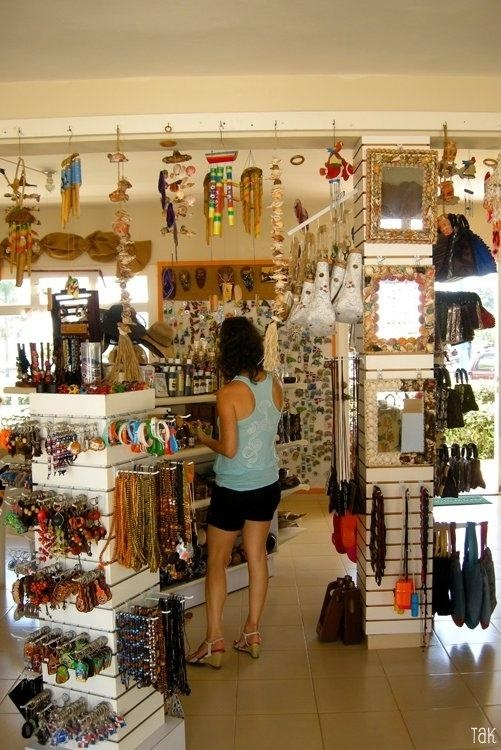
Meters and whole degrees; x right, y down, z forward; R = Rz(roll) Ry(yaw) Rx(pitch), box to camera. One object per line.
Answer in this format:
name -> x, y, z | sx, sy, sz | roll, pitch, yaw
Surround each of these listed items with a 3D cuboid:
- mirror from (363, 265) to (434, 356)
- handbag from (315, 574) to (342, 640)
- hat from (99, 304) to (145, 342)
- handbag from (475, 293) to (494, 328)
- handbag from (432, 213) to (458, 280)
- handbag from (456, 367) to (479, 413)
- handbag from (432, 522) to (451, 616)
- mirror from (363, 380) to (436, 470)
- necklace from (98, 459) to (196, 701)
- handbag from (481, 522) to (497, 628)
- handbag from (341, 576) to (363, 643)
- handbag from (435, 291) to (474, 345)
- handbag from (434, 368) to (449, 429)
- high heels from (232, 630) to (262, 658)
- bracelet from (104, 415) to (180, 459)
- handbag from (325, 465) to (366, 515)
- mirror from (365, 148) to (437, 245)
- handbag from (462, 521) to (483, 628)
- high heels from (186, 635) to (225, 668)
mirror -> 0.771, -0.340, 3.160 | 0.388, 0.413, 0.029 | -2, 0, -8
handbag -> 0.432, 1.285, 3.374 | 0.114, 0.347, 0.244 | 6, -6, 3
hat -> -0.668, -0.278, 3.162 | 0.211, 0.206, 0.468 | -2, 1, -13
handbag -> 1.475, -0.399, 3.817 | 0.127, 0.185, 0.053 | 10, -30, -34
handbag -> 1.049, -0.708, 3.288 | 0.109, 0.338, 0.318 | -1, 1, 19
handbag -> 1.540, 0.115, 4.319 | 0.082, 0.366, 0.355 | -6, 13, 5
handbag -> 1.038, 1.039, 3.294 | 0.127, 0.454, 0.054 | -1, 0, -20
mirror -> 0.767, 0.249, 3.159 | 0.421, 0.536, 0.042 | 0, 0, 6
necklace -> -0.337, 0.762, 2.171 | 0.252, 0.850, 0.358 | -1, 0, 20
handbag -> 1.312, 1.083, 3.350 | 0.074, 0.523, 0.292 | -1, 0, 23
handbag -> 0.534, 1.233, 3.192 | 0.103, 0.291, 0.293 | 0, -5, 1
handbag -> 1.256, -0.356, 3.770 | 0.322, 0.344, 0.087 | -1, 4, -38
handbag -> 1.171, 0.143, 3.688 | 0.087, 0.355, 0.343 | -1, 1, 18
high heels -> -0.020, 1.354, 3.106 | 0.072, 0.077, 0.174 | 1, 1, -12
bracelet -> -0.373, 0.199, 2.097 | 0.186, 0.105, 0.140 | -2, 5, -18
handbag -> 0.515, 0.624, 3.288 | 0.191, 0.238, 0.182 | -1, 1, 6
mirror -> 0.764, -0.933, 3.114 | 0.441, 0.613, 0.044 | 1, 7, -3
handbag -> 1.199, 1.071, 3.272 | 0.109, 0.523, 0.117 | -1, 0, -4
high heels -> -0.255, 1.352, 3.056 | 0.249, 0.115, 0.088 | 3, -1, 41
